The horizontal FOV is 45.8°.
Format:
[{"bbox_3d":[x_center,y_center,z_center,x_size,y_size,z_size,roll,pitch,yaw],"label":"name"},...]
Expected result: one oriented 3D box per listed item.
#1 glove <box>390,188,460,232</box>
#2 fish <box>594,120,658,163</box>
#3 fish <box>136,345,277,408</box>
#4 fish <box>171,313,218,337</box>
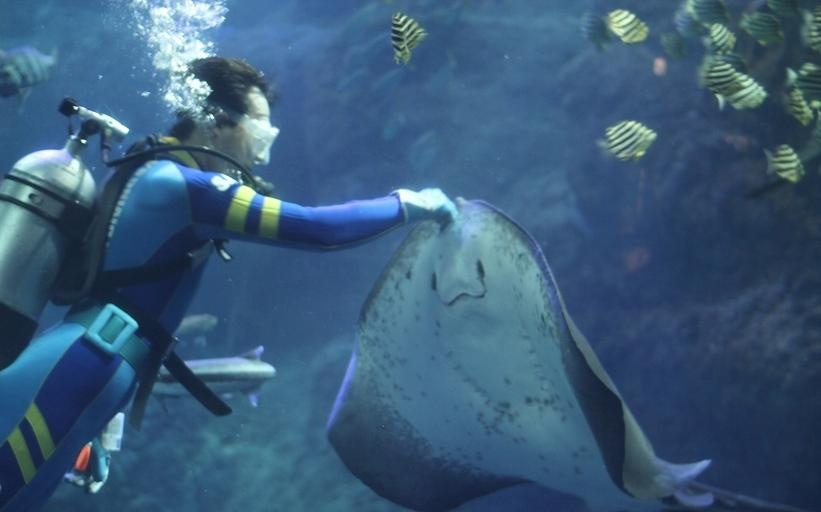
[{"bbox_3d":[0.120,-0.317,6.722,0.398,0.257,0.166,5,12,-6],"label":"glove"},{"bbox_3d":[1.654,-0.853,7.407,0.423,0.310,0.088,15,1,10],"label":"fish"},{"bbox_3d":[-1.750,1.063,8.446,1.041,0.560,0.436,-6,5,15],"label":"fish"},{"bbox_3d":[-1.987,0.641,9.041,0.466,0.192,0.072,-18,-2,28],"label":"fish"}]
